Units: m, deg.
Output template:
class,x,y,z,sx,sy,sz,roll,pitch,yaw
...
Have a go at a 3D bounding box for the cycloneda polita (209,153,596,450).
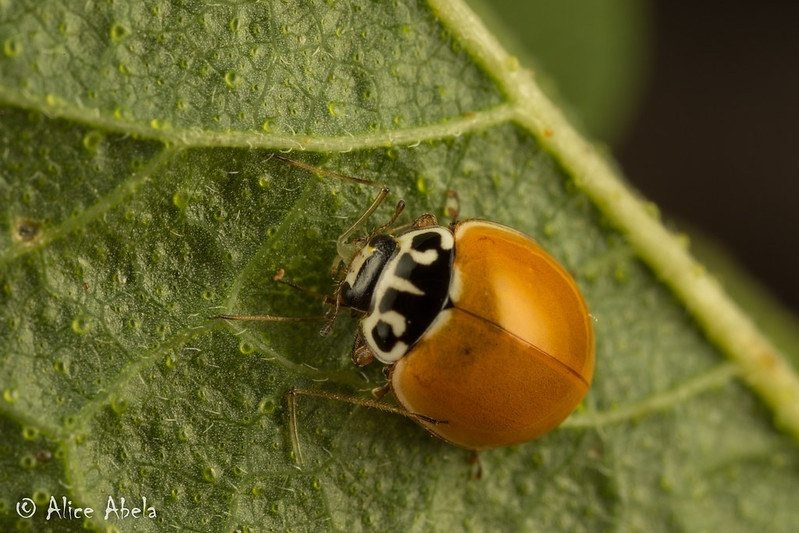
class,x,y,z,sx,sy,sz,roll,pitch,yaw
cycloneda polita,0.235,0.246,3.591,1.113,0.283,0.896,16,85,6
